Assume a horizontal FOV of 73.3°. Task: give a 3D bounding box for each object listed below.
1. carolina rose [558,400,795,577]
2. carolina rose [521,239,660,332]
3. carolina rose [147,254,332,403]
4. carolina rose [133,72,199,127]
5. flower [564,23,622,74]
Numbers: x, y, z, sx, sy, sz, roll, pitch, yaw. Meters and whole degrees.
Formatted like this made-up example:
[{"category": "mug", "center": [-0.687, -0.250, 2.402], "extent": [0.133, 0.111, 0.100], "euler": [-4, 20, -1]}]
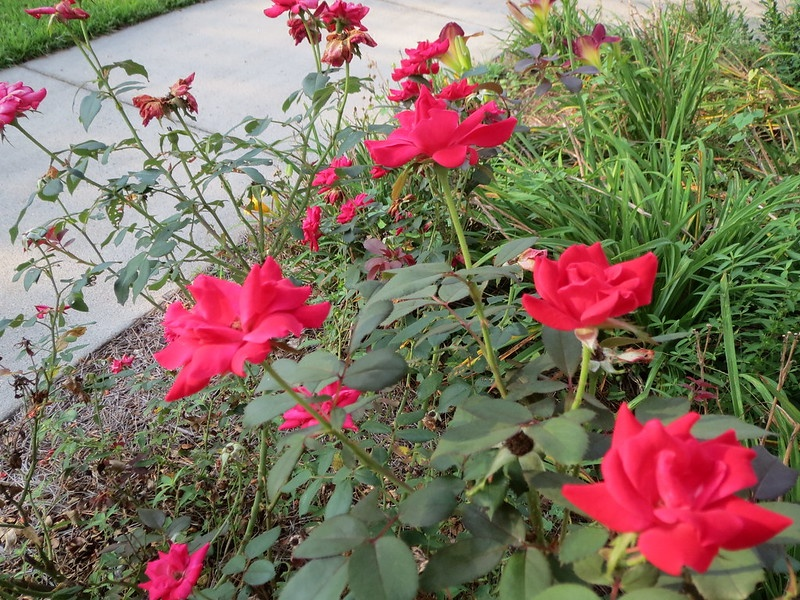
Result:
[{"category": "carolina rose", "center": [0.353, 0.237, 0.674], "extent": [0.208, 0.175, 0.193], "euler": [-34, 36, -28]}, {"category": "carolina rose", "center": [0.286, -0.012, 0.825], "extent": [0.171, 0.083, 0.147], "euler": [3, 55, 12]}, {"category": "carolina rose", "center": [-0.269, 0.034, 0.876], "extent": [0.295, 0.161, 0.268], "euler": [-20, 32, -9]}, {"category": "carolina rose", "center": [-0.776, -0.659, 1.792], "extent": [0.202, 0.129, 0.298], "euler": [-23, 32, -13]}, {"category": "flower", "center": [0.869, -1.128, 2.397], "extent": [0.169, 0.195, 0.365], "euler": [-1, 33, 22]}]
